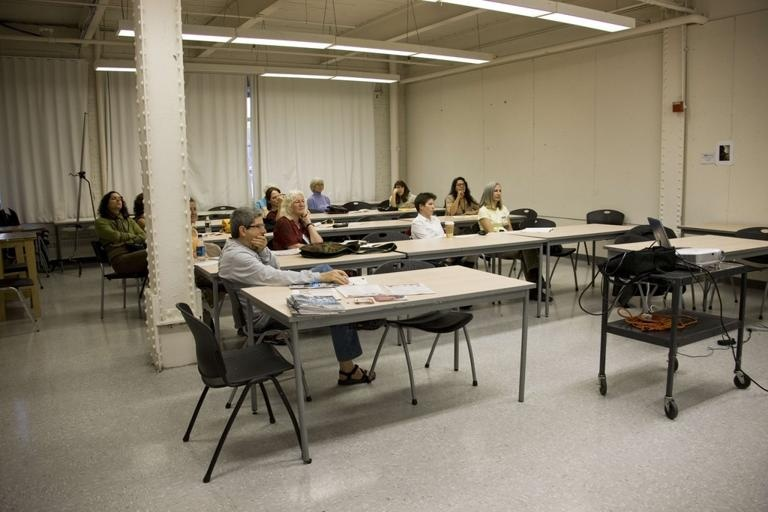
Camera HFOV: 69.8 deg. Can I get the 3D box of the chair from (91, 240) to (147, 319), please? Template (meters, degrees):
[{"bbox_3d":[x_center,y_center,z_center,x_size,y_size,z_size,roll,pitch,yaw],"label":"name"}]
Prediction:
[{"bbox_3d":[-3.676,0.279,7.517,0.631,1.005,0.733,12,9,42],"label":"chair"}]

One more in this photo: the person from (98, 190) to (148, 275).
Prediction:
[{"bbox_3d":[-3.451,-0.311,7.186,0.579,1.062,1.234,-8,9,-25],"label":"person"}]

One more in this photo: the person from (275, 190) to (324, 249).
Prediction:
[{"bbox_3d":[-1.034,-0.360,6.487,0.564,0.855,0.709,-1,-3,-22],"label":"person"}]

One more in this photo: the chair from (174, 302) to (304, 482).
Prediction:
[{"bbox_3d":[-1.142,0.915,4.166,0.828,1.207,0.835,-7,9,-22],"label":"chair"}]

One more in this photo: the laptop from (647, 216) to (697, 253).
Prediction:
[{"bbox_3d":[2.496,-0.197,4.861,0.399,0.323,0.446,-4,3,-9],"label":"laptop"}]

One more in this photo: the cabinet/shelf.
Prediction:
[{"bbox_3d":[2.601,0.662,4.907,1.306,1.120,0.833,-5,10,-36],"label":"cabinet/shelf"}]

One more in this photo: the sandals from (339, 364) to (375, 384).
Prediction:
[{"bbox_3d":[-0.251,1.086,5.071,0.309,0.143,0.150,-4,4,-15],"label":"sandals"}]

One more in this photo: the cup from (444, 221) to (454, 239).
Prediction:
[{"bbox_3d":[0.805,-0.323,6.766,0.196,0.205,0.198,1,5,0],"label":"cup"}]
